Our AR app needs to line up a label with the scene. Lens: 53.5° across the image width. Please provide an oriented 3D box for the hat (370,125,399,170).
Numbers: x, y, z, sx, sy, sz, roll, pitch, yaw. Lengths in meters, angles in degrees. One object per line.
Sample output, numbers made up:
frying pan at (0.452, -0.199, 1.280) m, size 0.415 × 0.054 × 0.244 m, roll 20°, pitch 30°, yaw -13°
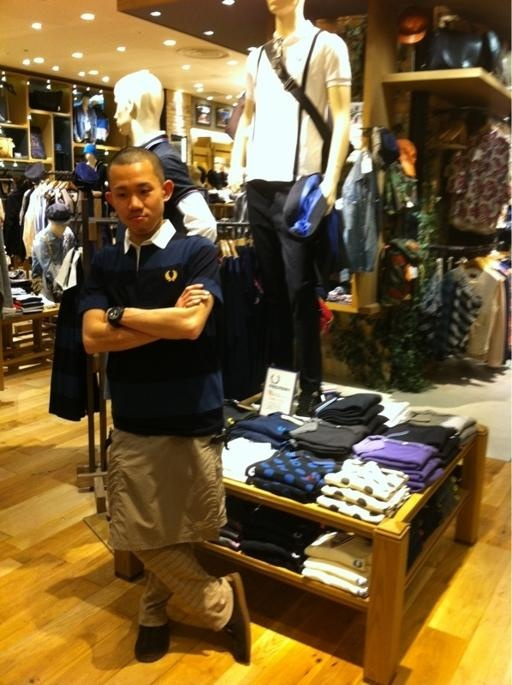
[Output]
hat at (0.611, -0.917, 2.383) m, size 0.061 × 0.130 × 0.167 m, roll -16°, pitch -25°, yaw -11°

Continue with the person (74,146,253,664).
person at (-0.245, 0.204, 1.382) m, size 0.397 × 1.394 × 0.393 m, roll 5°, pitch 6°, yaw 40°

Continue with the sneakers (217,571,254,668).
sneakers at (-0.058, 0.800, 1.477) m, size 0.093 × 0.234 × 0.072 m, roll -7°, pitch -2°, yaw -1°

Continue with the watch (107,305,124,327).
watch at (-0.335, -0.063, 1.215) m, size 0.036 × 0.055 × 0.052 m, roll 6°, pitch -22°, yaw 0°

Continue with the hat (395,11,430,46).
hat at (0.694, -1.391, 2.242) m, size 0.072 × 0.135 × 0.143 m, roll -2°, pitch 6°, yaw -31°

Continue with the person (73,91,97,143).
person at (-2.271, -2.974, 6.808) m, size 0.276 × 0.168 × 0.731 m, roll 3°, pitch -28°, yaw -14°

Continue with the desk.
desk at (0.384, 0.593, 1.714) m, size 0.712 × 0.404 × 0.755 m, roll 9°, pitch 16°, yaw 31°
